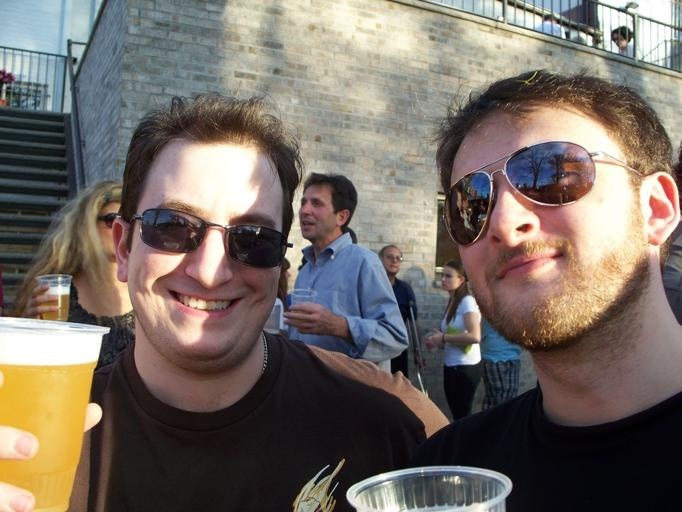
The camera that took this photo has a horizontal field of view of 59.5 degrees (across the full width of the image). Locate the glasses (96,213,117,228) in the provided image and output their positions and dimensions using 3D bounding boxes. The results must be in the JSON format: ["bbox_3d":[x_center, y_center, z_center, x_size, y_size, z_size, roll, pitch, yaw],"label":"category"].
[{"bbox_3d":[-1.501,-0.226,3.802,0.130,0.046,0.133,4,-12,-42],"label":"glasses"}]

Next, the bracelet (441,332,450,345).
[{"bbox_3d":[1.067,0.853,6.166,0.076,0.098,0.037,-3,-26,-1],"label":"bracelet"}]

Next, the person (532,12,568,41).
[{"bbox_3d":[3.369,-3.729,9.699,0.505,0.519,1.627,1,29,19],"label":"person"}]

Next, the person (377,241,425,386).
[{"bbox_3d":[0.635,1.027,6.937,0.624,2.205,0.640,-3,15,3],"label":"person"}]
